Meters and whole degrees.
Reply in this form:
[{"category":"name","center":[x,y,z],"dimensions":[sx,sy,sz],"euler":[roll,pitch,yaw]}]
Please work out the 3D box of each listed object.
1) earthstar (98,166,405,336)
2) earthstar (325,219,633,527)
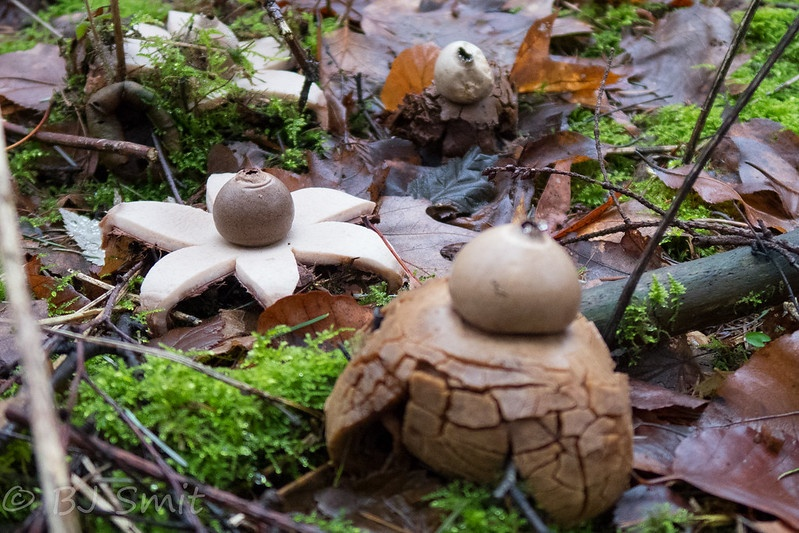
[{"category":"earthstar","center":[-0.634,-0.288,2.652],"dimensions":[0.858,0.374,0.863],"euler":[21,37,38]},{"category":"earthstar","center":[0.299,0.324,2.102],"dimensions":[0.964,0.878,0.440],"euler":[17,38,8]}]
